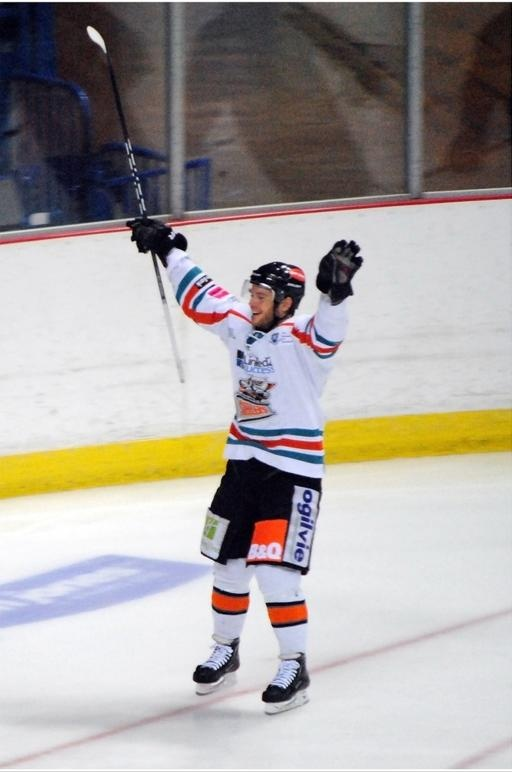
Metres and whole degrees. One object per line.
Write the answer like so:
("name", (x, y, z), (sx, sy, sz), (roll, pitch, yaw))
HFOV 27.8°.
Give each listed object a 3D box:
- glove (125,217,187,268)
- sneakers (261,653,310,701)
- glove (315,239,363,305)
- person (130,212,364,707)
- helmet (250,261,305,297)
("glove", (-0.311, -0.470, 3.332), (0.154, 0.093, 0.249), (0, 4, 11))
("sneakers", (0.090, 0.799, 2.801), (0.083, 0.109, 0.215), (3, 10, 21))
("glove", (0.243, -0.302, 2.743), (0.124, 0.159, 0.052), (39, 16, 34))
("person", (0.021, 0.211, 2.977), (0.504, 1.258, 0.759), (-2, 11, -5))
("helmet", (0.065, -0.310, 2.958), (0.137, 0.084, 0.094), (0, 16, -20))
